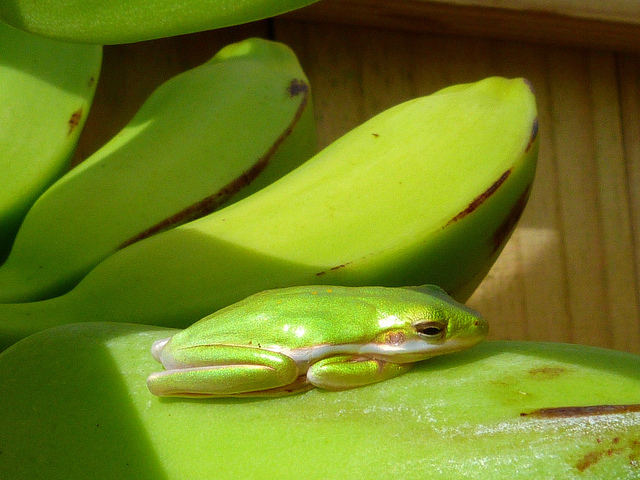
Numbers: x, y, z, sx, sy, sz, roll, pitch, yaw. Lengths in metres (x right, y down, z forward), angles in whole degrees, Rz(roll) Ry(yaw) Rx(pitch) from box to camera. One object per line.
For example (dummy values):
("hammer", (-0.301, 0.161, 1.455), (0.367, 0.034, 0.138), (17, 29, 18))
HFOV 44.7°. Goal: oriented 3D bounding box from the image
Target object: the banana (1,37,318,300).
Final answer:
("banana", (-0.196, -0.079, 0.946), (0.315, 0.158, 0.108), (-43, 109, -1))
